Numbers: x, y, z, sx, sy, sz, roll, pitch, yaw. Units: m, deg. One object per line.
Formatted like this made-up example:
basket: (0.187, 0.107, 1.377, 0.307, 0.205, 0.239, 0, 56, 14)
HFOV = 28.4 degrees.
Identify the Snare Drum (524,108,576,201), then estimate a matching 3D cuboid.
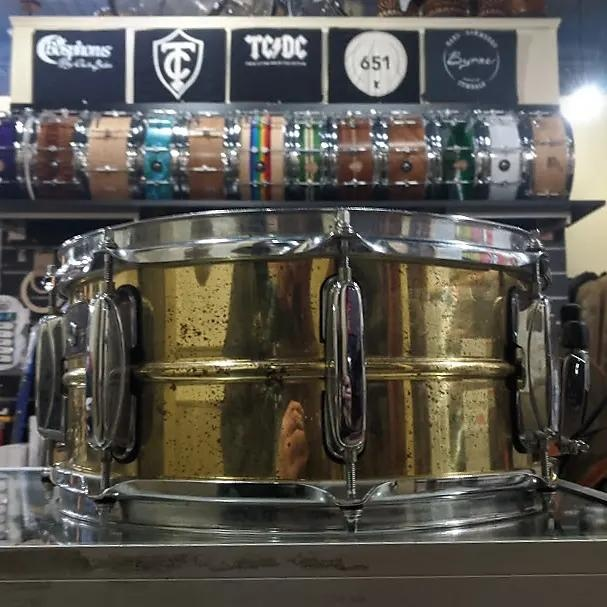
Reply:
Snare Drum: (1.002, -0.619, 4.937, 0.308, 0.295, 0.279, 0, 0, 7)

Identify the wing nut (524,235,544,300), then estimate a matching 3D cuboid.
wing nut: (0.659, -0.113, 3.385, 0.052, 0.139, 0.107, 2, -7, 13)

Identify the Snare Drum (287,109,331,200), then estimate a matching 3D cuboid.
Snare Drum: (0.012, -0.615, 4.878, 0.194, 0.308, 0.093, 1, -5, -1)

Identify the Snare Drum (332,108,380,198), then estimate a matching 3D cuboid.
Snare Drum: (0.213, -0.583, 4.914, 0.162, 0.307, 0.095, 0, -2, 2)

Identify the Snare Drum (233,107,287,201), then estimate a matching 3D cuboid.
Snare Drum: (-0.170, -0.591, 4.916, 0.195, 0.340, 0.077, 0, -2, -3)

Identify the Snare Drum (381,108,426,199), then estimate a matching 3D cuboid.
Snare Drum: (0.430, -0.637, 5.009, 0.179, 0.290, 0.278, -3, 9, 10)

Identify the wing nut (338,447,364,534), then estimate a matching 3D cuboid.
wing nut: (0.127, 0.491, 3.143, 0.057, 0.221, 0.093, 0, -2, 1)

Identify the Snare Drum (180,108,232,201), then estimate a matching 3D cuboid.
Snare Drum: (-0.397, -0.604, 4.927, 0.159, 0.353, 0.103, 0, -2, -6)
